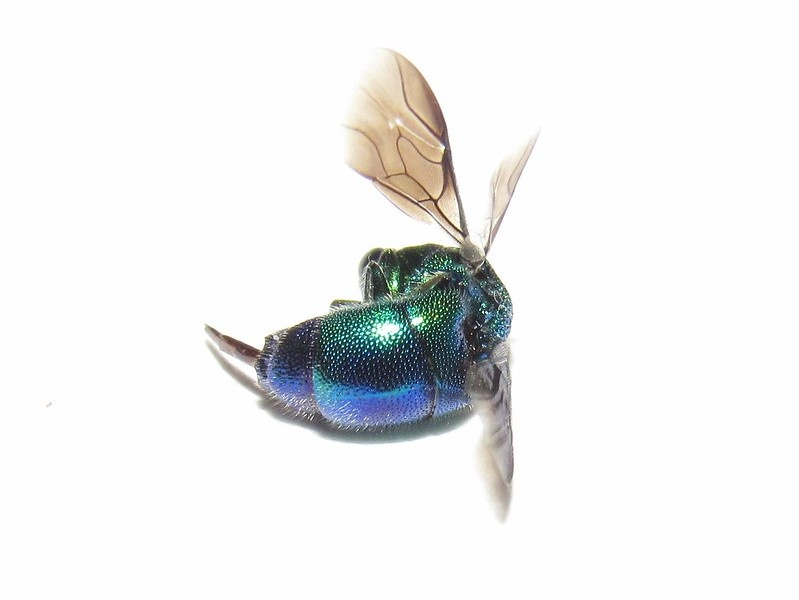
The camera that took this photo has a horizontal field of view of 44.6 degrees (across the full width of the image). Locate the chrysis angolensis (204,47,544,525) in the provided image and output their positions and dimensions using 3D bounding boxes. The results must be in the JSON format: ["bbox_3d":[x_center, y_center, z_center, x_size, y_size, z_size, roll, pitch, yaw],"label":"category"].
[{"bbox_3d":[-0.063,-0.245,5.425,1.801,2.625,1.269,-28,14,-23],"label":"chrysis angolensis"}]
